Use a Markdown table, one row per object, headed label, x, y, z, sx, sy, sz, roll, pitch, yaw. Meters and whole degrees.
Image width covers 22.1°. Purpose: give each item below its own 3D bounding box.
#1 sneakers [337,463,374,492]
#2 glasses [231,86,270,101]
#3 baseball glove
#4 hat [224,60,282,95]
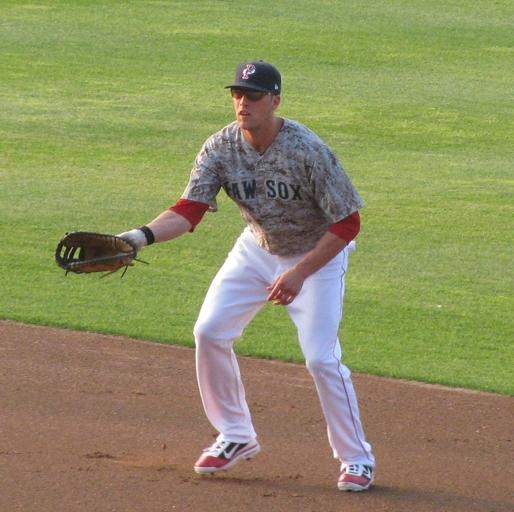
| label | x | y | z | sx | sy | sz | roll | pitch | yaw |
| --- | --- | --- | --- | --- | --- | --- | --- | --- | --- |
| sneakers | 0.748 | 1.627 | 9.708 | 0.320 | 0.190 | 0.186 | 0 | 15 | -15 |
| glasses | -0.081 | -1.186 | 9.638 | 0.297 | 0.097 | 0.105 | 10 | 15 | 25 |
| baseball glove | -1.186 | -0.021 | 9.708 | 0.584 | 0.354 | 0.290 | 2 | 14 | -7 |
| hat | -0.022 | -1.346 | 9.725 | 0.403 | 0.221 | 0.454 | 10 | 11 | 9 |
